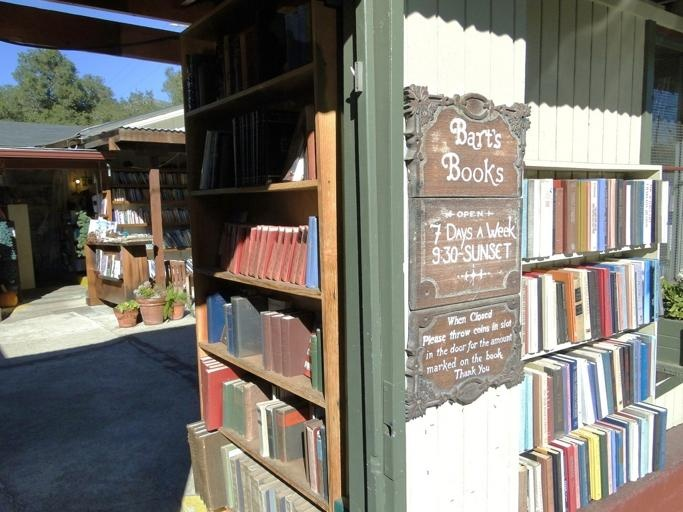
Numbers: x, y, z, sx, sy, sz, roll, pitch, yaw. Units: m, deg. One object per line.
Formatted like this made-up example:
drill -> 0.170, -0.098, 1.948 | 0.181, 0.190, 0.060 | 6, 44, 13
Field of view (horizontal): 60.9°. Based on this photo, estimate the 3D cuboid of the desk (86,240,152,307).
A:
desk -> -4.096, 0.320, 10.580 | 1.368, 1.209, 0.498 | 3, 6, 40

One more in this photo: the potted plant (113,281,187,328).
potted plant -> -3.106, 0.784, 9.433 | 0.717, 0.485, 0.896 | 2, 10, 30

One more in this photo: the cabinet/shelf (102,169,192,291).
cabinet/shelf -> -3.584, -0.471, 10.508 | 2.240, 2.708, 0.753 | -1, -1, 36
